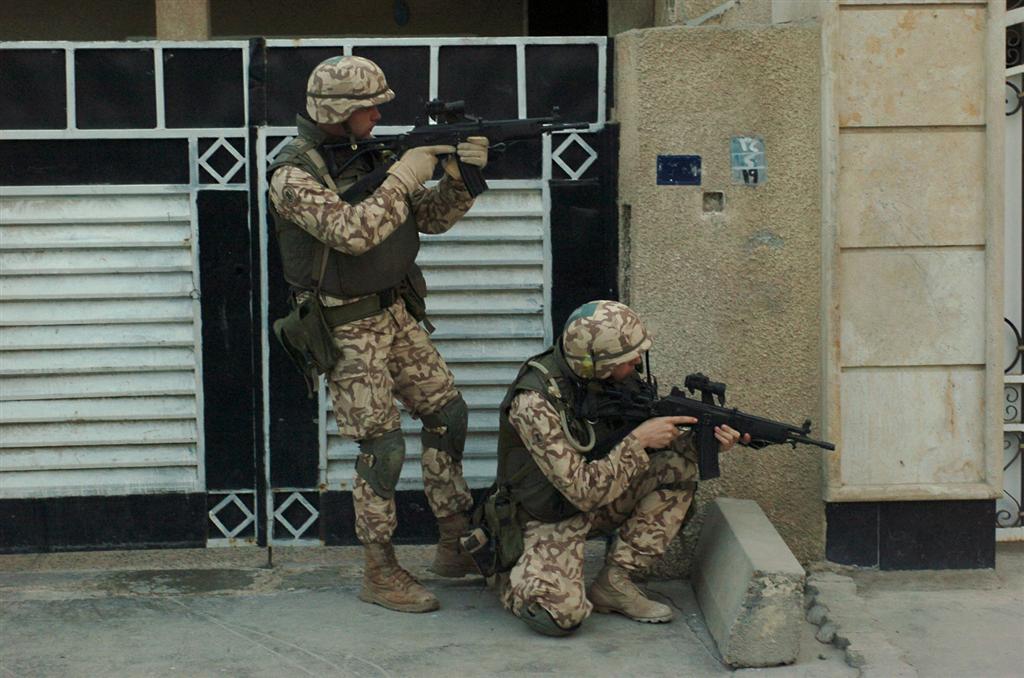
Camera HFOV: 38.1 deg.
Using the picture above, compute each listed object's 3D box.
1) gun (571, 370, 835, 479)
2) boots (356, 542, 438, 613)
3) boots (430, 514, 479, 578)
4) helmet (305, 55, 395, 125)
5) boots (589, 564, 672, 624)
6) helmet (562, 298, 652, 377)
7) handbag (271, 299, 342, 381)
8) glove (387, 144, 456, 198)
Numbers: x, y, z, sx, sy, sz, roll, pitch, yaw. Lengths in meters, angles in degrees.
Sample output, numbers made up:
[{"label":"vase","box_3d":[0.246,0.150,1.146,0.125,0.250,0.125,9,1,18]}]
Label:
[{"label":"gun","box_3d":[0.969,0.489,8.251,1.229,0.562,0.289,-1,3,7]},{"label":"boots","box_3d":[-0.646,1.354,8.422,0.578,0.342,0.216,6,7,40]},{"label":"boots","box_3d":[-0.282,1.264,8.911,0.410,0.161,0.365,3,27,-9]},{"label":"helmet","box_3d":[-0.912,-1.398,8.353,0.457,0.244,0.398,-1,14,2]},{"label":"boots","box_3d":[0.734,1.451,8.286,0.585,0.337,0.211,2,1,8]},{"label":"helmet","box_3d":[0.493,-0.001,8.269,0.490,0.382,0.361,-32,17,17]},{"label":"handbag","box_3d":[-1.177,-0.010,8.478,0.375,0.374,0.227,-33,0,35]},{"label":"glove","box_3d":[-0.528,-0.937,8.320,0.405,0.273,0.122,-3,3,-24]}]
